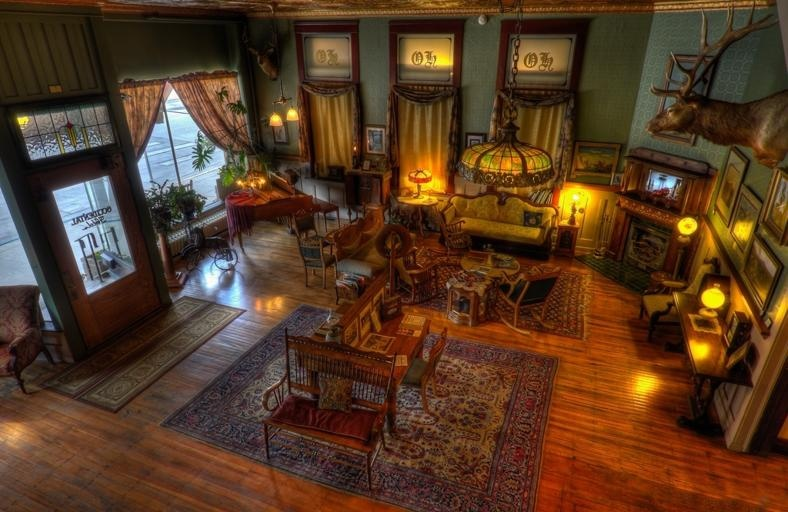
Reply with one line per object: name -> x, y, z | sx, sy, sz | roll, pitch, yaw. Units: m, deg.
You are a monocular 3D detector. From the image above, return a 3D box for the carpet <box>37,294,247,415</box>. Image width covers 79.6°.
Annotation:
carpet -> -4.706, 1.854, 8.426 | 1.501, 0.035, 2.520 | 12, 29, 18

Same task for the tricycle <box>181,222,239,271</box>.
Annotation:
tricycle -> -4.346, -0.116, 11.073 | 0.655, 0.919, 1.448 | -1, -4, 41

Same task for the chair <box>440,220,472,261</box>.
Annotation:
chair -> 1.408, -0.412, 11.593 | 0.817, 1.158, 0.746 | -4, 54, 2

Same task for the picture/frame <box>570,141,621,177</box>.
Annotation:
picture/frame -> 4.757, -2.312, 11.025 | 0.892, 0.744, 0.086 | 6, 32, 13

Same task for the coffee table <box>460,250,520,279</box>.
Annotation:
coffee table -> 2.049, 0.197, 9.727 | 0.817, 0.189, 0.813 | -23, 33, -39

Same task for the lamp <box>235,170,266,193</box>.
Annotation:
lamp -> -3.598, -1.886, 11.866 | 0.767, 0.381, 0.540 | 1, 26, -11

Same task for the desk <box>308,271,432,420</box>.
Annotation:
desk -> -0.563, 1.649, 8.082 | 2.081, 1.802, 2.364 | 7, 26, 16

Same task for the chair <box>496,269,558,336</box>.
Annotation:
chair -> 2.591, 0.943, 9.248 | 0.629, 1.116, 0.894 | -16, 41, -11

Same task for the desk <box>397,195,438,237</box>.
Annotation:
desk -> 0.628, -1.126, 12.416 | 1.130, 1.024, 1.019 | -5, 41, -2

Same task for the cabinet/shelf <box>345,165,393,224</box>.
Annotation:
cabinet/shelf -> -0.698, -1.763, 12.652 | 1.078, 0.992, 0.837 | 7, 25, 11

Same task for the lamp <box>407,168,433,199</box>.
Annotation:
lamp -> 0.626, -1.909, 12.310 | 0.752, 0.743, 0.704 | 0, 26, 0

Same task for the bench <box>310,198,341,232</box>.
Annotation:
bench -> -1.854, -1.103, 12.549 | 0.513, 0.643, 0.932 | -28, 42, -35

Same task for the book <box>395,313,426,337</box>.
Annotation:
book -> 0.286, 1.160, 7.862 | 0.290, 0.021, 0.422 | 6, 28, 12

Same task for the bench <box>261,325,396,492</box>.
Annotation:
bench -> -0.917, 2.326, 6.957 | 1.944, 1.773, 0.877 | 9, 26, 13

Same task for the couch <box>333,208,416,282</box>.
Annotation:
couch -> -0.450, -0.213, 10.275 | 0.962, 1.293, 2.229 | 16, 31, 17

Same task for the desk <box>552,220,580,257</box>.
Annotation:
desk -> 4.154, -0.395, 11.543 | 0.572, 0.654, 0.547 | 7, 9, -37

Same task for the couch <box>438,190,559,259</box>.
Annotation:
couch -> 2.595, -0.818, 11.806 | 2.773, 1.394, 0.954 | 10, 33, 19

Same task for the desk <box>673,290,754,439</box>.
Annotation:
desk -> 5.087, 1.752, 7.431 | 0.676, 1.542, 1.726 | 8, 32, 17

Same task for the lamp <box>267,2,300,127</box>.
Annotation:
lamp -> -2.895, -4.605, 11.952 | 0.763, 2.928, 1.632 | -6, 28, -12

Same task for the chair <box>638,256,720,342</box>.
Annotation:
chair -> 5.336, 0.837, 8.890 | 0.987, 1.298, 0.845 | 2, 31, 10

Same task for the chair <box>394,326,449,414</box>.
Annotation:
chair -> 0.402, 1.873, 7.557 | 0.899, 1.247, 0.751 | 12, 34, 18

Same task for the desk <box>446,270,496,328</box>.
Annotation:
desk -> 1.486, 0.801, 9.495 | 0.962, 0.820, 0.937 | -11, 31, -20

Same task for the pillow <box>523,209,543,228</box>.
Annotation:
pillow -> 3.400, -0.936, 11.548 | 0.451, 0.388, 0.116 | 9, 3, 21

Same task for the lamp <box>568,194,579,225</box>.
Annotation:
lamp -> 4.305, -1.102, 11.269 | 0.218, 0.689, 0.501 | 9, 28, 17

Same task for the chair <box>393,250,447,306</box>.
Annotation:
chair -> 0.395, 0.279, 10.052 | 0.966, 1.199, 0.971 | 19, 32, 40
